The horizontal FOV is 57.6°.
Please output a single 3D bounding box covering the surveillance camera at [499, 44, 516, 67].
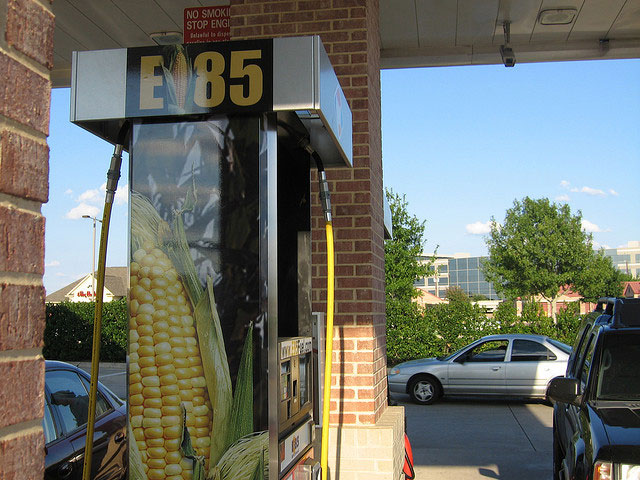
[{"bbox_3d":[2.515,-2.494,7.788,0.145,0.325,0.128,3,-46,-5],"label":"surveillance camera"}]
